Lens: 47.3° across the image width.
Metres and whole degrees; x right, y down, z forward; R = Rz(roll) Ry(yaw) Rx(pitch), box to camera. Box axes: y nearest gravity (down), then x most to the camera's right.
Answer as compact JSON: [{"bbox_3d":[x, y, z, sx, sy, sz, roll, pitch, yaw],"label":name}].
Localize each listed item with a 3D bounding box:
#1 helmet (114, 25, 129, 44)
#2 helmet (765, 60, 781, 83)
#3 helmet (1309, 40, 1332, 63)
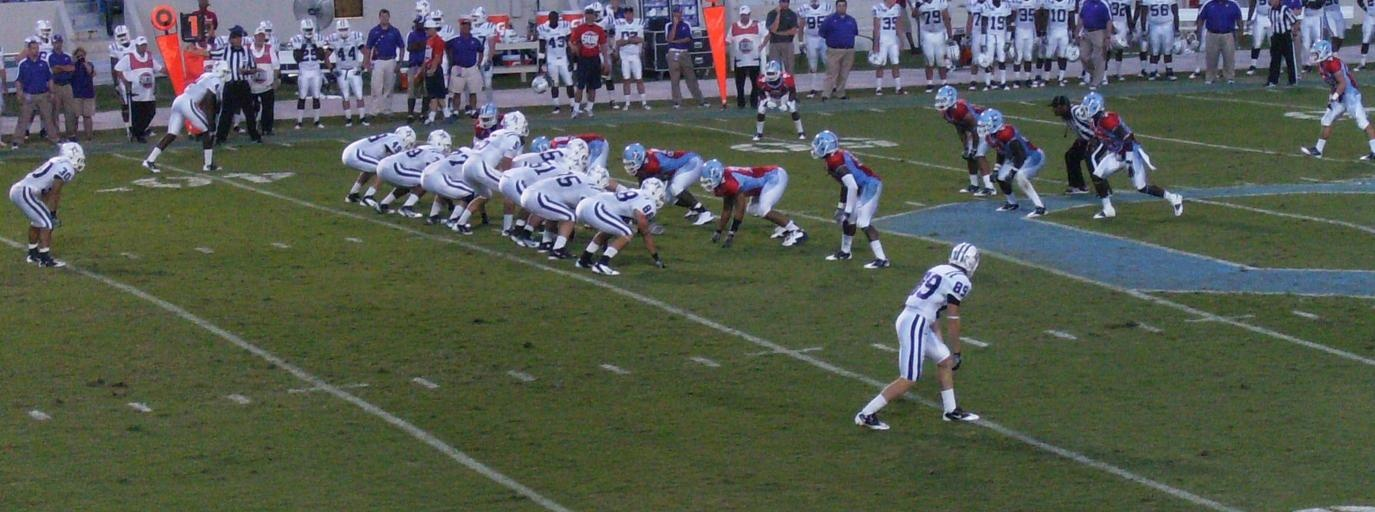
[{"bbox_3d":[-15.096,-5.926,41.872,0.338,0.433,0.599,-6,9,-17],"label":"helmet"},{"bbox_3d":[2.226,-4.864,41.258,0.455,0.532,0.412,0,10,13],"label":"helmet"},{"bbox_3d":[16.099,-5.228,39.952,0.457,0.515,0.602,0,9,15],"label":"helmet"}]
